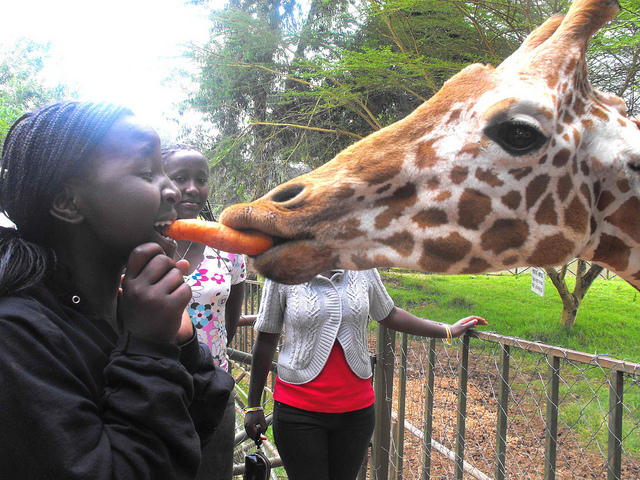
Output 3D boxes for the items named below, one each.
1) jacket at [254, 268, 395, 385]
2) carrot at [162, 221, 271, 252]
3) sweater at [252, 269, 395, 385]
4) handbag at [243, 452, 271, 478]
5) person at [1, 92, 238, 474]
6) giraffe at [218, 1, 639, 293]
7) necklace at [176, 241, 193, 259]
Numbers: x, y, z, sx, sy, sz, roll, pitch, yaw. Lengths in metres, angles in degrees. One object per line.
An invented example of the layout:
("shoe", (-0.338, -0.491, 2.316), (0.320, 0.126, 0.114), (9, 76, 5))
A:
("jacket", (0.057, 0.554, 4.030), (1.030, 0.890, 0.464), (-1, -2, -11))
("carrot", (-0.514, -0.022, 2.661), (0.661, 0.166, 0.133), (5, -18, 35))
("sweater", (0.086, 0.547, 4.026), (1.096, 0.910, 0.458), (-3, 8, -8))
("handbag", (-0.410, 1.402, 3.479), (0.185, 0.164, 0.137), (1, 4, 12))
("person", (-0.875, 0.171, 2.198), (0.715, 1.481, 0.543), (-2, 4, -30))
("giraffe", (0.483, -0.617, 3.197), (2.788, 1.579, 0.963), (6, 24, -5))
("necklace", (-0.870, 0.069, 3.533), (0.003, 0.096, 0.101), (32, 32, -18))
